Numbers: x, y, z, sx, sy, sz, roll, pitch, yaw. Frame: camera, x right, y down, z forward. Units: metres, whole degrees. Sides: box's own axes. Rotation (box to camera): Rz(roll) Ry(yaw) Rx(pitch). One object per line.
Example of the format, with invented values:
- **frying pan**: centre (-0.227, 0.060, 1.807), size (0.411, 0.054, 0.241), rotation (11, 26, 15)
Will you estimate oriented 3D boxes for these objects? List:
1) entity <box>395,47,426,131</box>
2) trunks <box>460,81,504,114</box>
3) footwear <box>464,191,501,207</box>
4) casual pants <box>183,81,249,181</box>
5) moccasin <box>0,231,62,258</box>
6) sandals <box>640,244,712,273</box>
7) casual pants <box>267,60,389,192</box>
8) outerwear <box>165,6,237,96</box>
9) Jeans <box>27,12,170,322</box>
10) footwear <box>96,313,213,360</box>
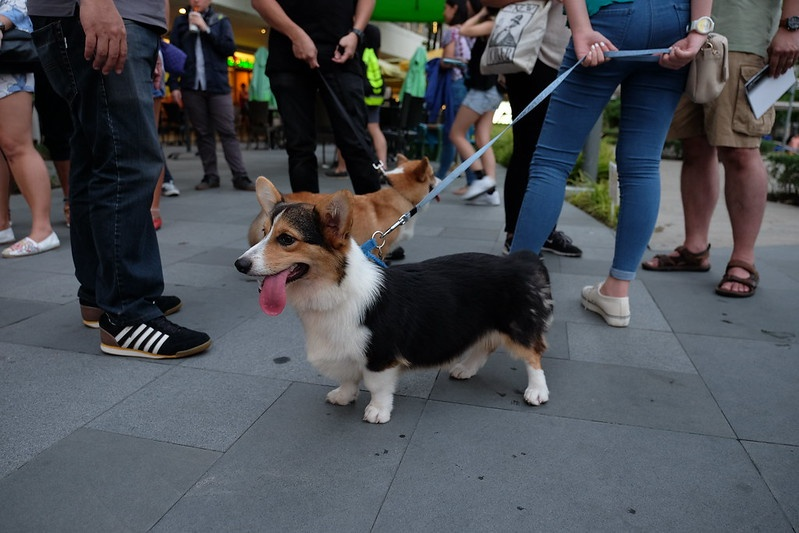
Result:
- **entity**: centre (0.328, -3.496, 11.456), size (0.482, 1.386, 0.421), rotation (12, 19, 13)
- **trunks**: centre (1.071, -2.171, 7.300), size (0.450, 0.406, 0.316), rotation (-7, 53, -41)
- **footwear**: centre (1.131, -0.933, 8.177), size (0.525, 0.226, 0.189), rotation (3, 16, 2)
- **casual pants**: centre (-2.735, -1.962, 8.724), size (0.789, 0.475, 1.762), rotation (-4, 63, -17)
- **moccasin**: centre (-3.209, -0.214, 5.214), size (0.175, 0.172, 0.476), rotation (12, 18, 40)
- **sandals**: centre (2.226, -0.070, 4.921), size (0.636, 0.248, 0.215), rotation (2, 9, 14)
- **casual pants**: centre (-0.668, -1.202, 5.059), size (0.703, 0.530, 1.956), rotation (-10, 44, -10)
- **outerwear**: centre (-2.842, -3.117, 8.493), size (0.974, 1.199, 0.732), rotation (0, 13, 1)
- **Jeans**: centre (-1.734, -0.513, 3.528), size (0.697, 1.831, 0.634), rotation (-7, 24, -15)
- **footwear**: centre (-1.475, 0.417, 3.708), size (0.746, 0.319, 0.265), rotation (1, 5, -5)
